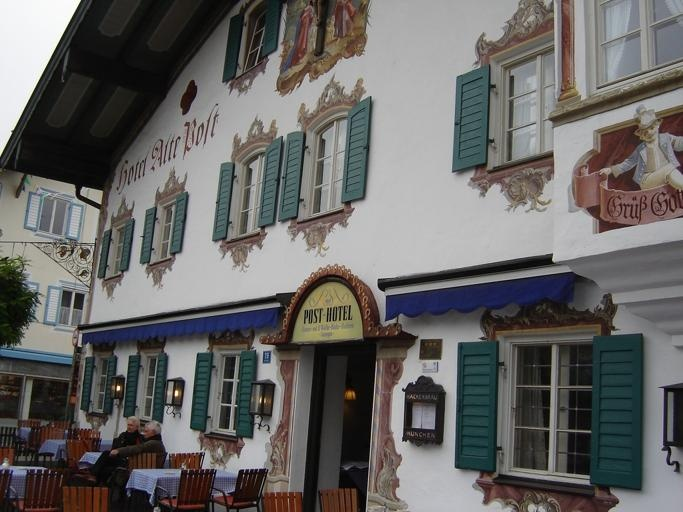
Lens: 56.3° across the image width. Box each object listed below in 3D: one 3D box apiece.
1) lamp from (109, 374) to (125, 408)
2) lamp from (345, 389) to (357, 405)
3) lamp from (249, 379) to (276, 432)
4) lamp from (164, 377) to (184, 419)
[{"bbox_3d":[-5.946,3.570,16.963,0.268,0.745,0.789,8,-19,-26],"label":"lamp"},{"bbox_3d":[0.256,3.376,15.419,0.296,0.290,0.194,4,-16,-10],"label":"lamp"},{"bbox_3d":[-1.502,2.795,11.902,0.270,0.955,0.434,14,-15,-41],"label":"lamp"},{"bbox_3d":[-3.808,3.055,14.621,0.299,0.999,0.351,5,-3,11],"label":"lamp"}]
